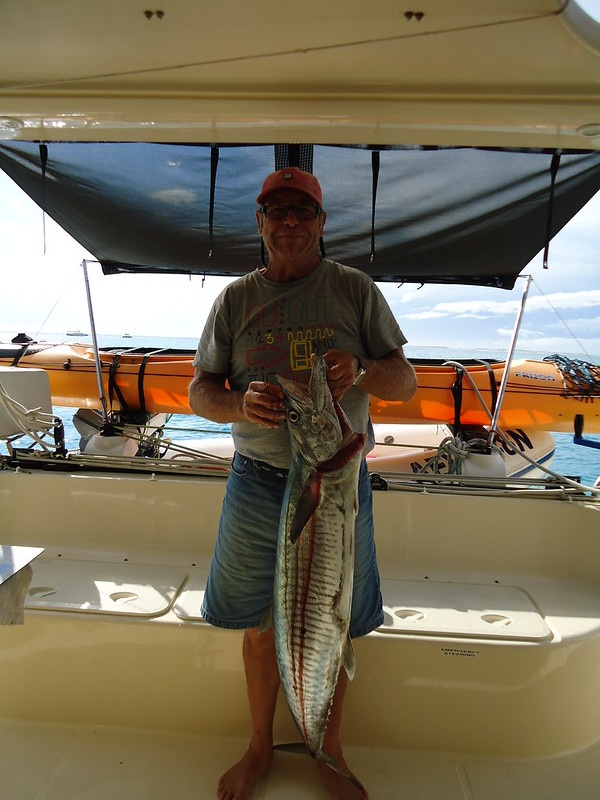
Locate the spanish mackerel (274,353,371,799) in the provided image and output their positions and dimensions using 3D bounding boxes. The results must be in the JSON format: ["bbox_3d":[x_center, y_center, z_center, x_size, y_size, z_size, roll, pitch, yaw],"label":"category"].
[{"bbox_3d":[0.045,0.423,1.441,0.220,1.085,0.201,-1,11,-2],"label":"spanish mackerel"}]

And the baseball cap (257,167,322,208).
[{"bbox_3d":[-0.030,-0.603,1.668,0.176,0.117,0.124,-1,10,-4],"label":"baseball cap"}]
